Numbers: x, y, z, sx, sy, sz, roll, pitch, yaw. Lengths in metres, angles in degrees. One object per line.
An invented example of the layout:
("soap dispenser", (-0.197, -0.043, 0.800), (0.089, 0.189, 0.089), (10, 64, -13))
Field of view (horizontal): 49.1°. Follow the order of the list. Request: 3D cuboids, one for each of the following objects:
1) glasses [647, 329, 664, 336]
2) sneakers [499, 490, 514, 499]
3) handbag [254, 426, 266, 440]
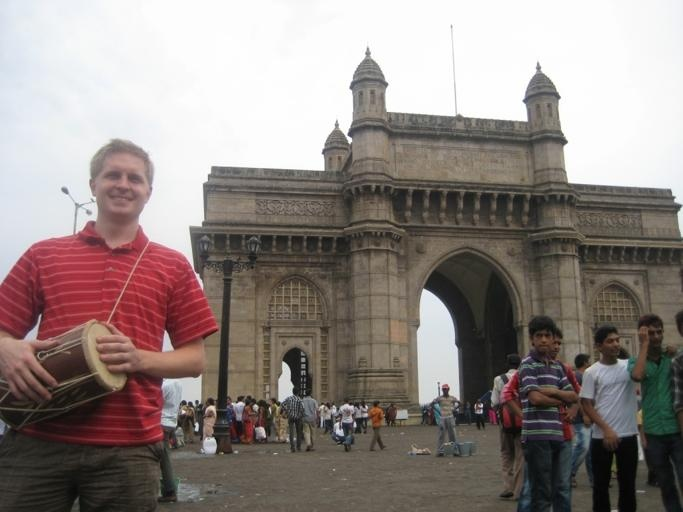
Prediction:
("glasses", (3.302, 0.805, 7.859), (0.090, 0.074, 0.124), (-2, -3, 3))
("sneakers", (2.242, 3.235, 10.136), (0.068, 0.085, 0.189), (6, -10, -36))
("handbag", (-2.637, 5.814, 24.438), (0.399, 0.426, 0.392), (-6, 0, 3))
